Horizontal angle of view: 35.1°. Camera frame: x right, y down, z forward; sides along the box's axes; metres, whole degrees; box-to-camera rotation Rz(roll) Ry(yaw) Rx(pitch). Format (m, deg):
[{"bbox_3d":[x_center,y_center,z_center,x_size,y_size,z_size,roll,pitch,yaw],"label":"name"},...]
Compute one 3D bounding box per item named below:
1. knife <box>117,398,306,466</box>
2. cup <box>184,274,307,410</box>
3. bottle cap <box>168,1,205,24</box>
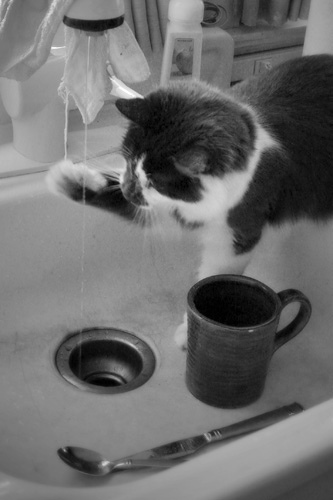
[{"bbox_3d":[0.037,0.153,0.439,0.163,0.012,0.031,-14,45,-26],"label":"knife"},{"bbox_3d":[0.080,0.086,0.517,0.117,0.097,0.083,-8,31,-16],"label":"cup"},{"bbox_3d":[0.034,-0.424,0.935,0.062,0.040,0.074,4,25,-2],"label":"bottle cap"}]
